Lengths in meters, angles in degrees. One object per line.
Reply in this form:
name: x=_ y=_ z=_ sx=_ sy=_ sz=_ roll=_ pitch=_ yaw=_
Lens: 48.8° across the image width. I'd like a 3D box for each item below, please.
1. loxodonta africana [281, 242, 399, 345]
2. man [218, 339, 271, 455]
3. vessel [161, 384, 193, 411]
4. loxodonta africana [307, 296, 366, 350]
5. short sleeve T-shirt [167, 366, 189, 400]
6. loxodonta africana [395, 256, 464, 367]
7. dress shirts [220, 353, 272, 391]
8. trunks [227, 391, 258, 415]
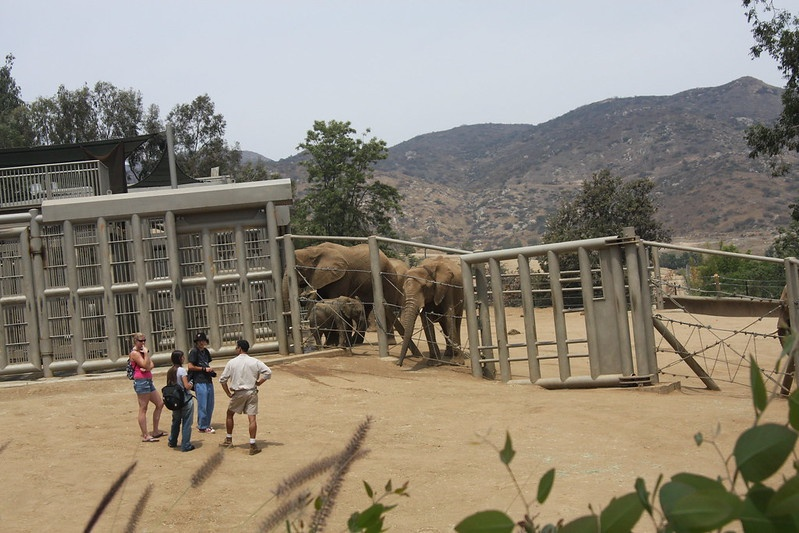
loxodonta africana: x=-1.695 y=0.341 z=26.265 sx=4.135 sy=2.982 sz=1.977 roll=2 pitch=-6 yaw=-17
man: x=-3.210 y=2.659 z=18.251 sx=1.010 sy=1.974 sz=1.757 roll=-4 pitch=15 yaw=-8
vessel: x=-4.568 y=2.686 z=18.051 sx=0.601 sy=0.511 sz=0.315 roll=-4 pitch=15 yaw=-11
loxodonta africana: x=-1.714 y=1.591 z=24.626 sx=1.755 sy=1.432 sz=0.967 roll=-7 pitch=6 yaw=-11
short sleeve T-shirt: x=-4.571 y=2.420 z=18.125 sx=0.654 sy=0.648 sz=0.343 roll=0 pitch=3 yaw=45
loxodonta africana: x=0.969 y=1.271 z=24.991 sx=1.655 sy=2.908 sz=3.875 roll=-6 pitch=-4 yaw=25
dress shirts: x=-3.251 y=2.221 z=18.381 sx=1.069 sy=0.777 sz=0.516 roll=-5 pitch=-1 yaw=0
trunks: x=-3.250 y=2.859 z=18.174 sx=0.587 sy=0.604 sz=0.590 roll=-2 pitch=14 yaw=-1
